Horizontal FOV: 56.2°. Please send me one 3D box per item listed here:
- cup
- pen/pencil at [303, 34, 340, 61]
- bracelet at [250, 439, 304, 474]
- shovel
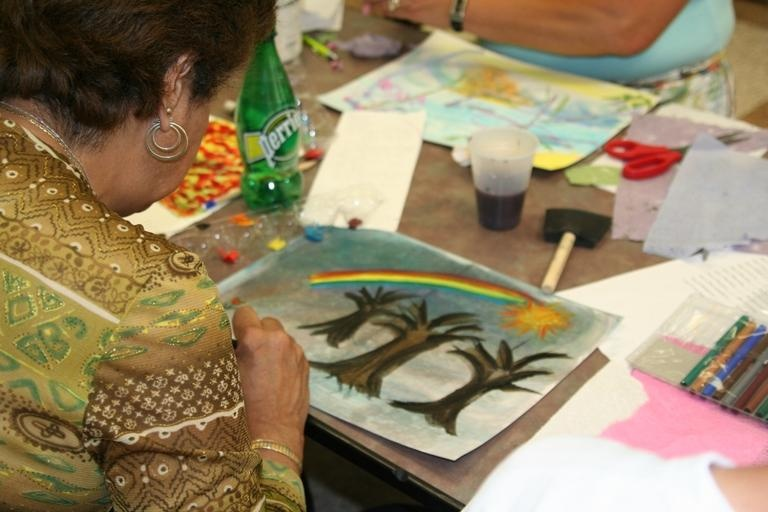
[{"bbox_3d":[0.229,-0.145,1.391,0.153,0.158,0.138,4,35,11],"label":"cup"},{"bbox_3d":[-0.160,-0.544,1.880,0.154,0.021,0.021,32,48,25],"label":"pen/pencil"},{"bbox_3d":[-0.165,0.304,1.129,0.061,0.061,0.015,28,71,-3],"label":"bracelet"},{"bbox_3d":[0.336,-0.018,1.320,0.108,0.029,0.182,16,33,18],"label":"shovel"}]
